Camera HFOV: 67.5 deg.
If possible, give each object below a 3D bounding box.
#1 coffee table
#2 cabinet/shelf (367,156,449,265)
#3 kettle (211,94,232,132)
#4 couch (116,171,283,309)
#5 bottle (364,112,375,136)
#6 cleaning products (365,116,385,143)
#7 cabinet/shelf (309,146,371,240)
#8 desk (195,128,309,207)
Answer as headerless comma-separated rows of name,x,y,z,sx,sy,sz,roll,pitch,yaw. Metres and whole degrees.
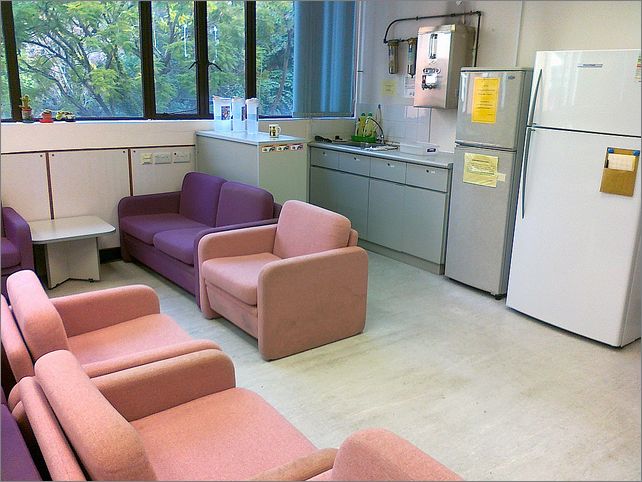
coffee table,-2.408,-0.057,4.643,0.694,0.531,0.689,-12,27,-32
cabinet/shelf,0.938,-0.339,5.030,0.322,0.882,0.957,-7,16,-34
kettle,-1.162,-1.454,5.467,0.263,0.423,0.258,-3,27,-24
couch,-1.262,-0.102,4.774,1.624,0.968,0.972,18,21,40
bottle,0.609,-1.466,6.116,0.120,0.270,0.166,0,18,6
cleaning products,0.665,-1.413,6.112,0.210,0.404,0.379,6,18,26
cabinet/shelf,0.236,-0.529,5.171,0.488,1.007,1.001,-3,12,-32
desk,-0.702,-0.704,4.751,0.306,0.764,0.781,-16,25,-39
